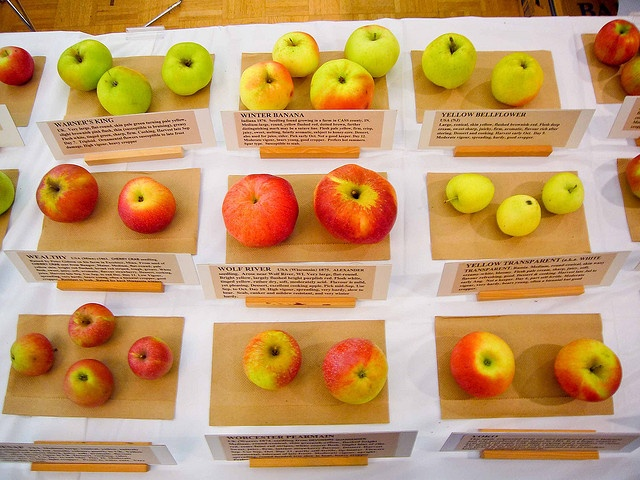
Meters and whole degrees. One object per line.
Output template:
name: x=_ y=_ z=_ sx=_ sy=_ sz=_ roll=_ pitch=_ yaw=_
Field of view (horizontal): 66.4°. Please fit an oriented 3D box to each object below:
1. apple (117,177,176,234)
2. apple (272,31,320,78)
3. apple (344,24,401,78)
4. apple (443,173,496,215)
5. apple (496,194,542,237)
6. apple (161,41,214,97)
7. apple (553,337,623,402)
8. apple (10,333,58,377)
apple: x=-0.794 y=-0.129 z=2.290 sx=0.227 sy=0.254 sz=0.240 roll=4 pitch=-10 yaw=-13
apple: x=-0.121 y=-0.927 z=2.430 sx=0.197 sy=0.223 sz=0.211 roll=-7 pitch=-30 yaw=0
apple: x=0.260 y=-0.943 z=2.420 sx=0.220 sy=0.251 sz=0.228 roll=0 pitch=-33 yaw=6
apple: x=0.696 y=-0.219 z=2.298 sx=0.223 sy=0.201 sz=0.184 roll=-10 pitch=6 yaw=5
apple: x=0.883 y=-0.101 z=2.238 sx=0.172 sy=0.183 sz=0.214 roll=5 pitch=-27 yaw=11
apple: x=-0.686 y=-0.879 z=2.507 sx=0.273 sy=0.287 sz=0.259 roll=-18 pitch=21 yaw=-39
apple: x=1.141 y=0.545 z=2.067 sx=0.249 sy=0.277 sz=0.271 roll=10 pitch=-22 yaw=31
apple: x=-1.226 y=0.494 z=2.137 sx=0.166 sy=0.196 sz=0.171 roll=3 pitch=-17 yaw=-22
